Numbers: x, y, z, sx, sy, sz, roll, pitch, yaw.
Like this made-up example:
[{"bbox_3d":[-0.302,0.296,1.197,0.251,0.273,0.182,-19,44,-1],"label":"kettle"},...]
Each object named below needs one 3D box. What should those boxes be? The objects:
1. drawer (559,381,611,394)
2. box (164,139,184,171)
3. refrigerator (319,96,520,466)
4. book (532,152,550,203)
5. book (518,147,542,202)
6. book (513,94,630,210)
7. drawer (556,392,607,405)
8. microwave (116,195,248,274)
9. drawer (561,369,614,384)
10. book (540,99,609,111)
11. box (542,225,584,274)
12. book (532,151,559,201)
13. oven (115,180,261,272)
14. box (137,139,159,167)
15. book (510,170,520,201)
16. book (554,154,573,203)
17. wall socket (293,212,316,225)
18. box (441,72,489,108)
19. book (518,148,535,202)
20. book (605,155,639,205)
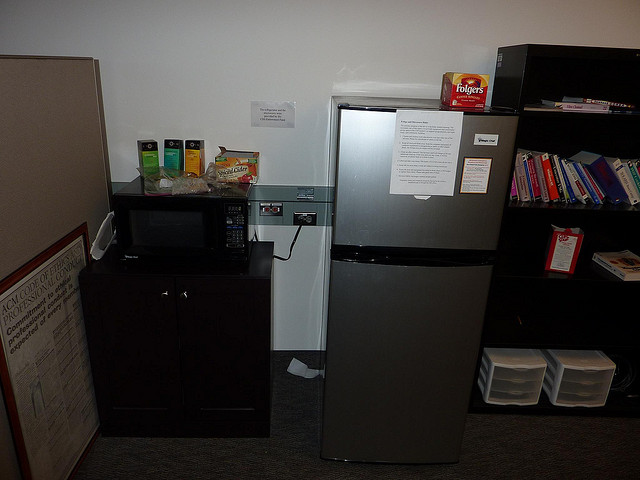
[{"bbox_3d":[1.580,0.893,2.975,0.148,0.041,0.139,0,5,10],"label":"drawer"},{"bbox_3d":[-0.806,-0.480,2.792,0.108,0.171,0.042,-4,17,-15],"label":"box"},{"bbox_3d":[0.415,0.207,2.858,0.927,2.076,0.778,1,17,-11],"label":"refrigerator"},{"bbox_3d":[1.231,-0.344,2.759,0.048,0.212,0.203,-4,1,2],"label":"book"},{"bbox_3d":[1.196,-0.357,2.775,0.048,0.215,0.205,-10,10,14],"label":"book"},{"bbox_3d":[1.396,-0.493,2.771,0.619,0.579,0.228,2,30,3],"label":"book"},{"bbox_3d":[1.575,0.965,3.002,0.147,0.041,0.138,0,3,7],"label":"drawer"},{"bbox_3d":[-0.762,0.033,2.742,0.675,0.418,0.433,2,-29,-21],"label":"microwave"},{"bbox_3d":[1.573,0.815,2.936,0.153,0.053,0.156,-1,9,8],"label":"drawer"},{"bbox_3d":[1.343,-0.714,2.618,0.323,0.045,0.144,10,19,26],"label":"book"},{"bbox_3d":[1.411,0.050,2.896,0.162,0.275,0.155,11,9,13],"label":"box"},{"bbox_3d":[1.270,-0.349,2.746,0.045,0.203,0.194,-6,3,10],"label":"book"},{"bbox_3d":[-0.715,-0.131,2.813,0.696,0.414,0.518,2,20,1],"label":"oven"},{"bbox_3d":[-0.945,-0.487,2.776,0.098,0.148,0.137,-5,17,-19],"label":"box"},{"bbox_3d":[1.067,-0.309,2.706,0.047,0.137,0.148,-1,14,6],"label":"book"},{"bbox_3d":[1.348,-0.346,2.768,0.046,0.208,0.199,-11,-10,14],"label":"book"},{"bbox_3d":[-0.087,-0.137,3.125,0.141,0.078,0.015,-1,16,-7],"label":"wall socket"},{"bbox_3d":[0.735,-0.768,2.526,0.249,0.161,0.242,17,19,32],"label":"box"},{"bbox_3d":[1.169,-0.368,2.790,0.043,0.191,0.183,-13,6,17],"label":"book"},{"bbox_3d":[1.691,-0.336,2.752,0.051,0.216,0.212,-15,-2,24],"label":"book"}]
